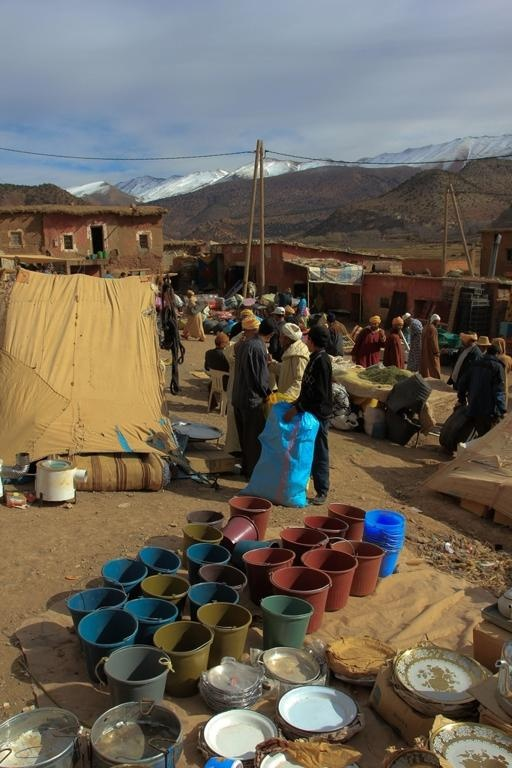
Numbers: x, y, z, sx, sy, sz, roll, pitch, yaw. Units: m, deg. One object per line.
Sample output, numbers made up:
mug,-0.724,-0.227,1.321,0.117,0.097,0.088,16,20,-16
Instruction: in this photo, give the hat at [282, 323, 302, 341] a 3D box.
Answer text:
hat,0.306,-0.609,6.163,0.191,0.117,0.208,13,37,-20

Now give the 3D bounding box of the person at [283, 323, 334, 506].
person,0.469,0.361,5.568,0.387,1.893,0.586,6,9,16

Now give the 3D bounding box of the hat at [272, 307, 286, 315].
hat,0.280,-1.275,9.508,0.172,0.128,0.239,-4,2,-21

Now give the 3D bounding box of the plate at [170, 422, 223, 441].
plate,-0.798,0.647,7.102,0.601,0.184,0.765,2,8,-7
